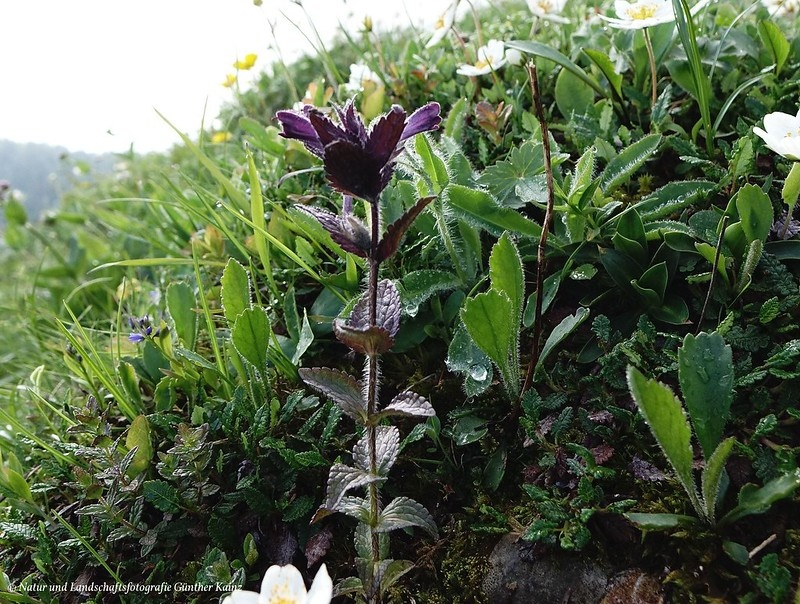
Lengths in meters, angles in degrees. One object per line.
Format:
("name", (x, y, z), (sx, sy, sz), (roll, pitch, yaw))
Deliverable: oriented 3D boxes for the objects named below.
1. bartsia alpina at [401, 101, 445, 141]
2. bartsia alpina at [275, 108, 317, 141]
("bartsia alpina", (0.042, -0.434, 1.533), (0.112, 0.082, 0.107), (-11, 6, -14))
("bartsia alpina", (-0.240, -0.415, 1.504), (0.089, 0.083, 0.076), (-9, 6, -3))
